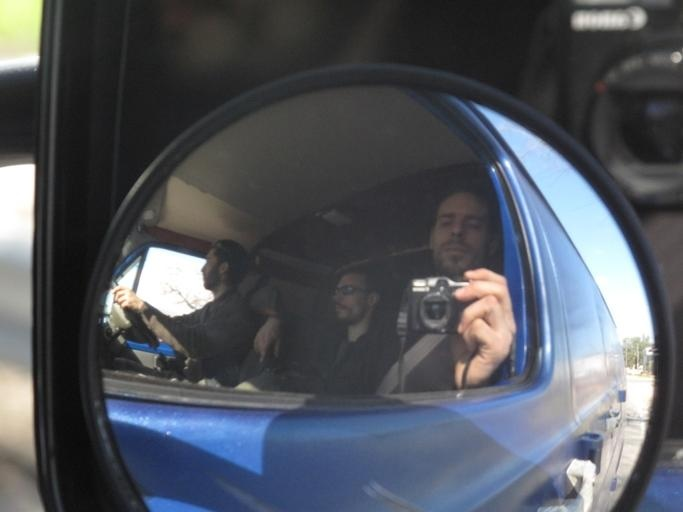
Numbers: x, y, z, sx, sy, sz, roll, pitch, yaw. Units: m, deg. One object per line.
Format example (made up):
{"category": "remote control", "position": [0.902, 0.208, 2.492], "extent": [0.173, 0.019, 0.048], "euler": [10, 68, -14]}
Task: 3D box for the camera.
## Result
{"category": "camera", "position": [0.280, 0.142, 2.035], "extent": [0.174, 0.166, 0.127], "euler": [-2, -8, 24]}
